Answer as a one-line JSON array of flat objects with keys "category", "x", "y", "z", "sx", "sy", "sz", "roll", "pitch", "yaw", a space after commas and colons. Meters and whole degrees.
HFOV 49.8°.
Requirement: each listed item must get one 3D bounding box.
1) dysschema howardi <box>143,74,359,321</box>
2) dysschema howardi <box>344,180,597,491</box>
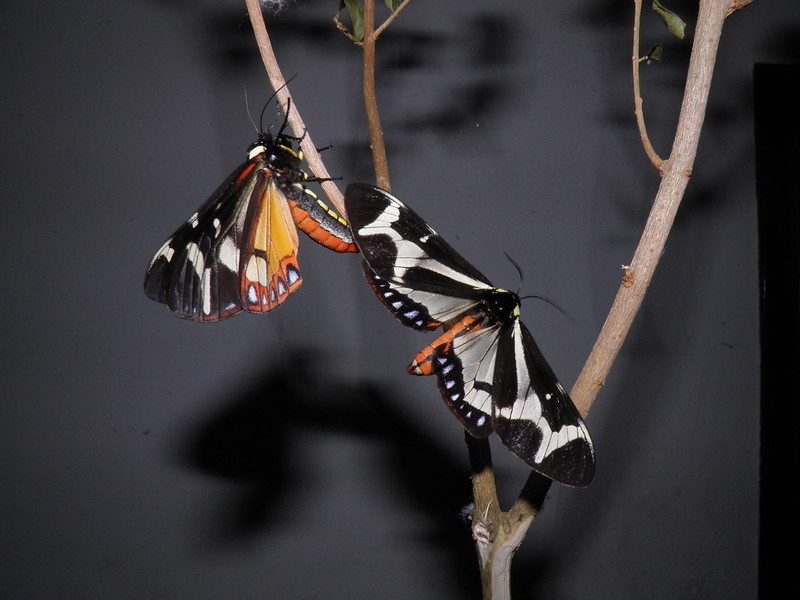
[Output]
[{"category": "dysschema howardi", "x": -0.343, "y": -0.159, "z": 1.968, "sx": 0.473, "sy": 0.381, "sz": 0.168, "roll": -10, "pitch": -23, "yaw": 20}, {"category": "dysschema howardi", "x": 0.127, "y": 0.088, "z": 1.895, "sx": 0.532, "sy": 0.641, "sz": 0.165, "roll": 4, "pitch": -22, "yaw": -14}]
